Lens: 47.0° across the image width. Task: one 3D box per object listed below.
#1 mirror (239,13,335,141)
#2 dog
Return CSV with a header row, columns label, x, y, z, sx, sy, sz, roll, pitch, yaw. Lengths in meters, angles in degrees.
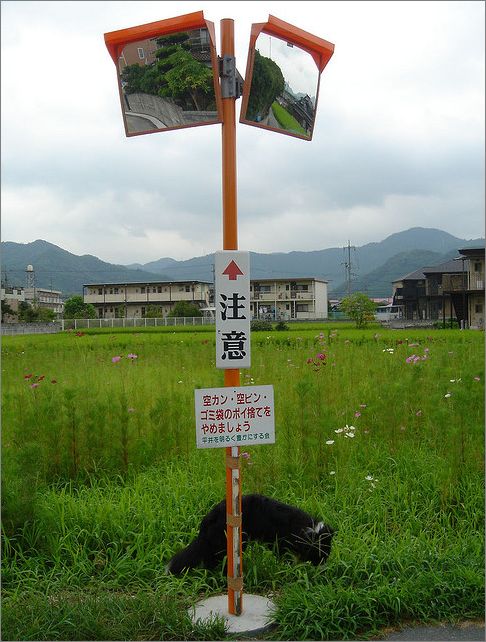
label,x,y,z,sx,sy,sz,roll,pitch,yaw
mirror,0.245,-1.376,3.183,0.493,0.567,0.173,6,6,-28
dog,0.044,1.268,3.264,0.945,0.450,0.378,-2,-1,1
